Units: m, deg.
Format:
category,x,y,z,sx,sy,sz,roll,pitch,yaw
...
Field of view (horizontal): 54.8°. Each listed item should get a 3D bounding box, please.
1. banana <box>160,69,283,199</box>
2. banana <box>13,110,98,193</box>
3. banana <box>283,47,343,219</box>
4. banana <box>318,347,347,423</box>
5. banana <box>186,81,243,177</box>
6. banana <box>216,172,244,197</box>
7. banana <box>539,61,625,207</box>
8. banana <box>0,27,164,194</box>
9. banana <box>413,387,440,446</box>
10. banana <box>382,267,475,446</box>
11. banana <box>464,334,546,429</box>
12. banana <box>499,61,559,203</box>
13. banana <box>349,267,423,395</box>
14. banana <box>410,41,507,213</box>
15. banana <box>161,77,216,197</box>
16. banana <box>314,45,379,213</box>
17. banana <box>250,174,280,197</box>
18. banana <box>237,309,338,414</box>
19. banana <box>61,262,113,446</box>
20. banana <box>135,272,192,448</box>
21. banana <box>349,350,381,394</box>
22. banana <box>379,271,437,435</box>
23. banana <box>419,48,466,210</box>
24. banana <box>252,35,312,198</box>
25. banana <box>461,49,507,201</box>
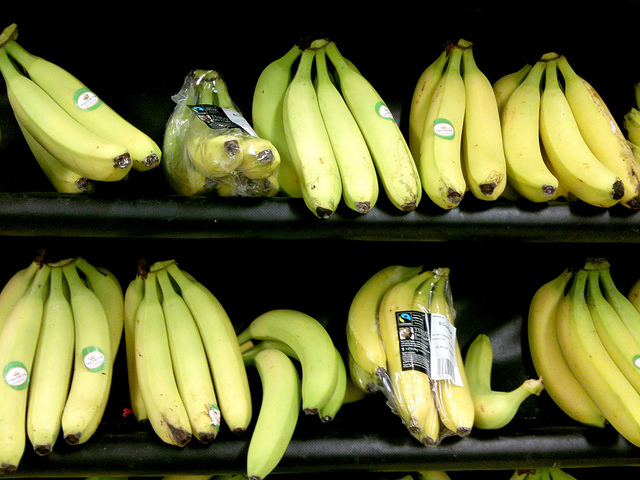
category,x,y,z,sx,sy,sz,roll,pitch,yaw
banana,-0.251,-0.245,1.436,0.231,0.332,0.133,-5,-5,-18
banana,-0.594,-0.227,1.466,0.106,0.315,0.082,-49,-38,2
banana,-0.040,-0.272,1.468,0.089,0.434,0.137,-3,-16,-28
banana,0.034,0.358,1.547,0.057,0.176,0.199,-5,1,11
banana,-0.240,-0.267,1.420,0.113,0.231,0.083,-3,-21,-1
banana,-0.206,-0.123,1.412,0.059,0.046,0.024,-10,19,-3
banana,0.614,-0.228,1.484,0.102,0.305,0.188,-5,1,-10
banana,-0.569,-0.252,1.484,0.233,0.530,0.193,-32,-15,-30
banana,0.247,0.418,1.439,0.034,0.130,0.042,19,-28,-20
banana,0.253,0.279,1.555,0.185,0.456,0.138,15,-44,-16
banana,0.452,0.363,1.601,0.162,0.199,0.331,-5,1,5
banana,0.519,-0.297,1.530,0.088,0.388,0.131,13,-19,-3
banana,0.168,0.179,1.701,0.160,0.476,0.114,23,-39,-6
banana,0.339,-0.268,1.578,0.210,0.481,0.153,1,-31,-2
banana,-0.301,-0.247,1.495,0.091,0.279,0.133,7,6,33
banana,0.021,-0.261,1.503,0.089,0.439,0.149,-13,-16,6
banana,-0.130,-0.123,1.429,0.023,0.043,0.054,10,2,13
banana,-0.073,0.280,1.530,0.188,0.264,0.072,-41,6,-21
banana,-0.517,0.262,1.411,0.084,0.377,0.119,-5,-21,-8
banana,-0.389,0.254,1.479,0.091,0.439,0.149,-14,-20,1
banana,0.112,0.351,1.567,0.054,0.107,0.149,-5,1,-8
banana,0.209,0.287,1.530,0.077,0.341,0.102,-16,-28,18
banana,0.329,-0.276,1.534,0.091,0.405,0.131,13,-21,-21
banana,-0.093,-0.333,1.627,0.124,0.472,0.157,16,-21,-36
banana,0.381,-0.284,1.526,0.082,0.366,0.109,-6,-19,8
